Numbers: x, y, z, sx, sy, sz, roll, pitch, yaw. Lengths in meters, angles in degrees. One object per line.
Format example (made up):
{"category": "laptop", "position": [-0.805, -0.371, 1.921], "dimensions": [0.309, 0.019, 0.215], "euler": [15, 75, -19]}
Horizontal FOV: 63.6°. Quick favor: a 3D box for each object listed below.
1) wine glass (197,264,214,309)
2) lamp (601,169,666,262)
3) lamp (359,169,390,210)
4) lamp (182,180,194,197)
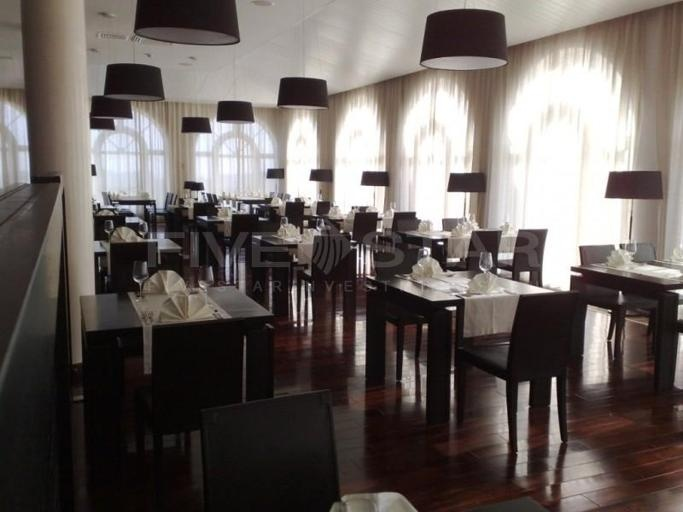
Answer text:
{"category": "wine glass", "position": [-0.852, 0.155, 3.418], "dimensions": [0.081, 0.260, 0.388], "euler": [-2, 11, -15]}
{"category": "lamp", "position": [2.828, -0.457, 5.384], "dimensions": [0.448, 0.764, 0.440], "euler": [5, 2, 44]}
{"category": "lamp", "position": [0.585, -1.125, 10.061], "dimensions": [0.523, 1.048, 0.173], "euler": [1, 42, 1]}
{"category": "lamp", "position": [-4.365, -1.920, 15.595], "dimensions": [0.364, 0.589, 0.379], "euler": [-6, 17, -24]}
